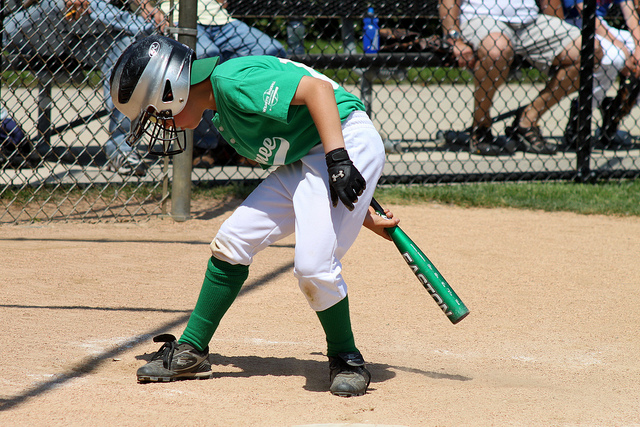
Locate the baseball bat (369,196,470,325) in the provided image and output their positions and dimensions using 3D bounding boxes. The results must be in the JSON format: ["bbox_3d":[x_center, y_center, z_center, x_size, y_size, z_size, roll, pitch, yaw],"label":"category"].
[{"bbox_3d":[0.634,0.333,6.210,0.118,0.870,0.116,-35,-3,-12],"label":"baseball bat"}]

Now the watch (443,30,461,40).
[{"bbox_3d":[1.141,-1.553,8.336,0.108,0.054,0.082,-33,16,6],"label":"watch"}]

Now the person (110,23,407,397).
[{"bbox_3d":[-0.357,0.003,5.276,1.386,1.875,0.438,2,10,3],"label":"person"}]
